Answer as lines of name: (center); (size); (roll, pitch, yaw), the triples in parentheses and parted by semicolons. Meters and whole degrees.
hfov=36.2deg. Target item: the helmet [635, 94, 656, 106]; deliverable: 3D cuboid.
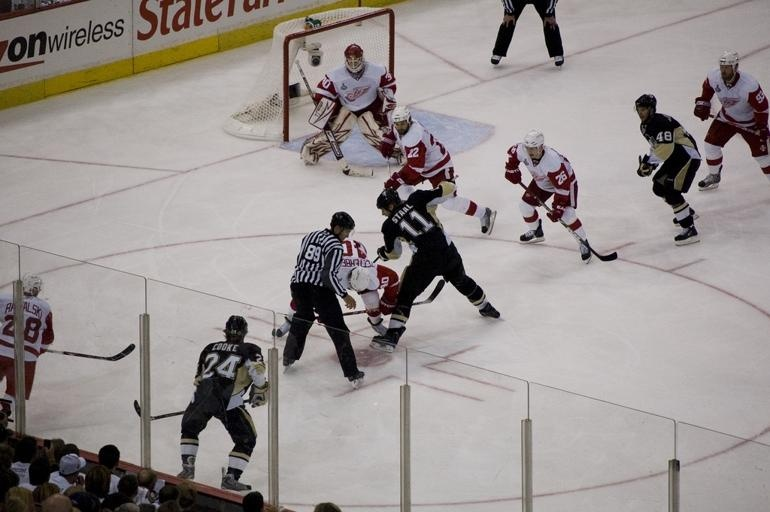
helmet: (2.479, -1.474, 11.255); (0.179, 0.108, 0.262); (-4, 15, 17)

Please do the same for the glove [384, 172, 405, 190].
glove: (0.065, -0.708, 11.604); (0.226, 0.096, 0.144); (-31, 39, 29)

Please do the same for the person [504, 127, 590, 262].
person: (1.590, -0.543, 11.606); (0.862, 1.249, 0.641); (32, 64, 32)

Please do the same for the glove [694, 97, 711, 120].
glove: (3.266, -1.508, 12.185); (0.176, 0.224, 0.104); (13, 10, 36)

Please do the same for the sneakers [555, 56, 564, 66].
sneakers: (2.201, -2.456, 14.928); (0.108, 0.130, 0.073); (-10, 15, -4)

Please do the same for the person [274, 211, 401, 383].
person: (-0.353, 0.357, 9.296); (0.678, 1.135, 0.562); (35, 53, 18)

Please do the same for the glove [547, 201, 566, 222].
glove: (1.606, -0.419, 11.142); (0.118, 0.174, 0.165); (-16, 16, -22)

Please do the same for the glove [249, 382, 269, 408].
glove: (-0.865, 0.965, 8.193); (0.184, 0.125, 0.141); (6, 9, 12)

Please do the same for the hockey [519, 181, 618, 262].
hockey: (1.760, -0.301, 11.468); (1.115, 0.157, 0.123); (40, 44, 16)

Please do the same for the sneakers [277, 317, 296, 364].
sneakers: (-0.648, 0.584, 8.101); (0.114, 0.321, 0.149); (8, 16, 6)

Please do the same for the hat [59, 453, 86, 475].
hat: (-2.119, 1.409, 8.072); (0.115, 0.087, 0.165); (10, 27, 14)

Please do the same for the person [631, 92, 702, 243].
person: (2.716, -0.835, 11.310); (0.576, 1.429, 0.461); (-7, 15, 12)

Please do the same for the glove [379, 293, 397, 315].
glove: (0.028, 0.420, 10.008); (0.141, 0.146, 0.167); (17, -3, -1)

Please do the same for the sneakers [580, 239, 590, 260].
sneakers: (1.879, -0.051, 11.093); (0.076, 0.191, 0.087); (-9, -10, 21)

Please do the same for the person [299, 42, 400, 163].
person: (-0.330, -1.631, 12.876); (1.266, 1.244, 0.714); (-3, 30, 10)

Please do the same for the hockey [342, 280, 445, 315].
hockey: (0.056, 0.358, 10.026); (0.861, 0.118, 0.118); (-12, 39, 8)

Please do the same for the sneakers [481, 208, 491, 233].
sneakers: (0.980, -0.343, 11.605); (0.103, 0.223, 0.085); (3, 22, -4)

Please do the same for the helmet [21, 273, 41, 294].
helmet: (-2.590, 0.214, 8.728); (0.142, 0.138, 0.119); (-13, -7, 44)

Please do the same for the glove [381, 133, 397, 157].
glove: (0.076, -1.133, 12.170); (0.096, 0.221, 0.179); (3, 8, -19)

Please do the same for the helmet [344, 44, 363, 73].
helmet: (-0.306, -2.105, 12.632); (0.206, 0.279, 0.277); (-1, 62, 4)

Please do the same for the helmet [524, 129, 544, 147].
helmet: (1.371, -1.084, 10.941); (0.141, 0.157, 0.170); (1, 21, 22)

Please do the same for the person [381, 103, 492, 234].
person: (0.522, -0.832, 11.839); (0.876, 1.234, 0.725); (-32, 54, -7)

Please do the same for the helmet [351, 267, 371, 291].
helmet: (-0.200, 0.191, 9.559); (0.157, 0.175, 0.178); (8, -5, -11)

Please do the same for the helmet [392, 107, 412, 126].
helmet: (0.156, -1.365, 11.496); (0.153, 0.182, 0.180); (-13, 33, 14)

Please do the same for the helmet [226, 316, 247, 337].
helmet: (-1.028, 0.494, 8.272); (0.130, 0.142, 0.153); (5, 29, 0)

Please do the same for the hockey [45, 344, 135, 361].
hockey: (-2.086, 0.702, 8.613); (0.680, 0.131, 0.031); (-2, 17, 24)

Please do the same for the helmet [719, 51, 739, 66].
helmet: (3.407, -1.946, 11.733); (0.174, 0.132, 0.250); (-6, 14, 12)

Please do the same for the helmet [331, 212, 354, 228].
helmet: (-0.335, -0.282, 9.666); (0.164, 0.140, 0.130); (-5, 15, -19)
